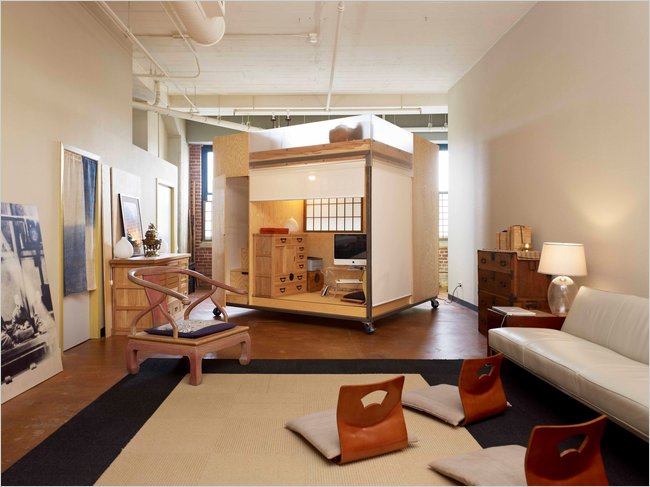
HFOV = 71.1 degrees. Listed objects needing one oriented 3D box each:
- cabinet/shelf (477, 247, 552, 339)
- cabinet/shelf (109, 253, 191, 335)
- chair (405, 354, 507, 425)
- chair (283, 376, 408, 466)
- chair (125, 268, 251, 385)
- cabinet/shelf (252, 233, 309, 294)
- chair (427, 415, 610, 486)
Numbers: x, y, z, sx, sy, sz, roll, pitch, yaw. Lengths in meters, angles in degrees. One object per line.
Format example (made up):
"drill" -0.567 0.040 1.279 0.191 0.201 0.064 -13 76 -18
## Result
"cabinet/shelf" 2.465 0.658 6.205 0.366 1.114 1.100 1 3 -5
"cabinet/shelf" -2.307 0.650 5.848 0.355 0.646 1.094 -1 -1 0
"chair" 1.189 1.261 4.215 0.923 0.516 0.933 2 -1 -19
"chair" 0.181 1.372 3.784 0.844 0.566 0.881 1 -4 -34
"chair" -1.512 0.856 5.145 1.214 1.135 1.254 1 0 5
"cabinet/shelf" -0.746 0.304 7.180 0.411 1.054 0.941 -2 -2 35
"chair" 1.357 1.267 3.153 0.666 0.446 0.884 4 -14 -25
